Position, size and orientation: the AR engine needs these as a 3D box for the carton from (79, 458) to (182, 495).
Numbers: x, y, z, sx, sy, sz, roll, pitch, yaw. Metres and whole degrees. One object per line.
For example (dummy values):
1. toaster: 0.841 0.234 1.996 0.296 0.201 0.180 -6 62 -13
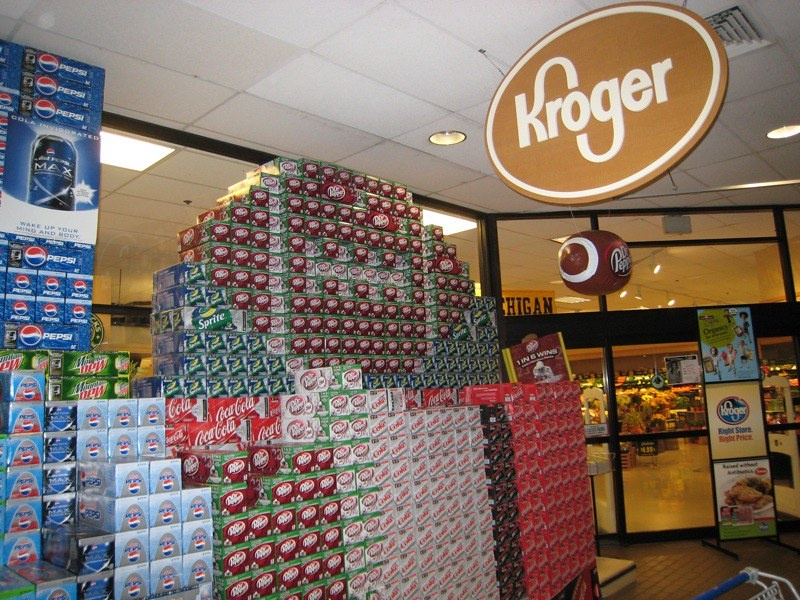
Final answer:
1. carton: -1.475 0.976 3.454 0.328 0.120 0.315 5 -9 -39

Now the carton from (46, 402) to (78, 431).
1. carton: -1.900 0.658 3.463 0.200 0.151 0.098 1 -7 -29

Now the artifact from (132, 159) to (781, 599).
1. artifact: 0.552 0.739 5.322 4.862 3.636 1.556 4 -18 -41

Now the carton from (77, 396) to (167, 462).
1. carton: -1.588 0.740 3.531 0.421 0.344 0.115 0 -8 -28

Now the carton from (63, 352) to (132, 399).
1. carton: -1.855 0.430 3.755 0.368 0.247 0.329 -4 -1 -38

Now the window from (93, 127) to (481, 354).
1. window: -1.000 -0.497 5.259 2.119 0.396 1.902 10 -17 -40
